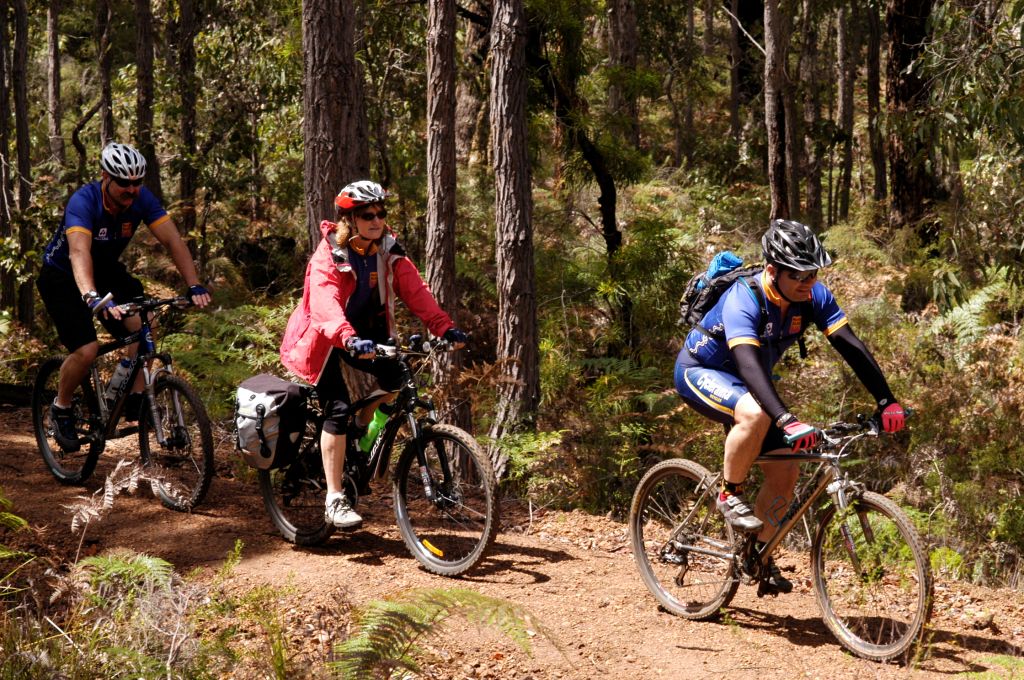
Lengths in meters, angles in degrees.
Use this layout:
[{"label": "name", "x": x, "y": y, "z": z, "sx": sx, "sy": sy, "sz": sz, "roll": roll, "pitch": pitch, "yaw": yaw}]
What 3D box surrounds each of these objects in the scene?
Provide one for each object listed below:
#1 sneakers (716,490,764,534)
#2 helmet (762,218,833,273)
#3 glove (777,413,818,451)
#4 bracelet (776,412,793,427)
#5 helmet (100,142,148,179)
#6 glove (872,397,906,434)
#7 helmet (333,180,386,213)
[{"label": "sneakers", "x": 2.308, "y": 1.762, "z": 11.115, "sx": 0.227, "sy": 0.267, "sz": 0.587, "roll": -7, "pitch": 27, "yaw": -40}, {"label": "helmet", "x": 2.765, "y": -0.914, "z": 10.752, "sx": 0.437, "sy": 0.293, "sz": 0.630, "roll": -14, "pitch": 31, "yaw": -27}, {"label": "glove", "x": 2.749, "y": 0.949, "z": 10.516, "sx": 0.275, "sy": 0.183, "sz": 0.408, "roll": -32, "pitch": 56, "yaw": -33}, {"label": "bracelet", "x": 2.658, "y": 0.773, "z": 10.500, "sx": 0.054, "sy": 0.142, "sz": 0.104, "roll": 38, "pitch": 13, "yaw": 2}, {"label": "helmet", "x": -4.345, "y": -1.989, "z": 12.105, "sx": 0.421, "sy": 0.415, "sz": 0.299, "roll": 0, "pitch": 3, "yaw": -23}, {"label": "glove", "x": 3.820, "y": 0.757, "z": 10.759, "sx": 0.302, "sy": 0.347, "sz": 0.131, "roll": -3, "pitch": 0, "yaw": 43}, {"label": "helmet", "x": -1.655, "y": -1.571, "z": 11.546, "sx": 0.315, "sy": 0.196, "sz": 0.457, "roll": -7, "pitch": -6, "yaw": -35}]
